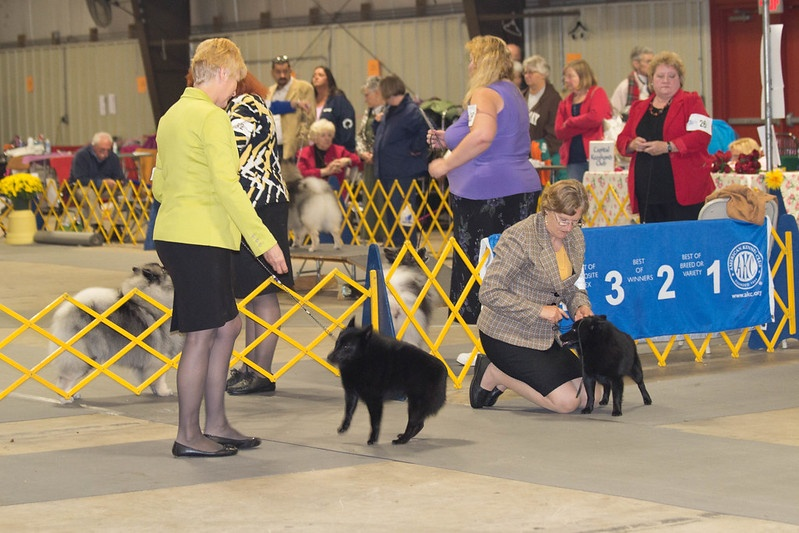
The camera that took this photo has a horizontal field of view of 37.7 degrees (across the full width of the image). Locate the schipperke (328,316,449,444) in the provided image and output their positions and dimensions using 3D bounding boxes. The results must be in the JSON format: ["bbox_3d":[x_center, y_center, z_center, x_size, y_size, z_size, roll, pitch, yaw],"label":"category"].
[{"bbox_3d":[-0.106,0.775,7.668,0.868,0.779,0.321,6,5,-18],"label":"schipperke"}]

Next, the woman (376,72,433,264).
[{"bbox_3d":[0.060,-1.173,13.256,0.792,2.031,0.667,19,33,36],"label":"woman"}]

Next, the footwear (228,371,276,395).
[{"bbox_3d":[-1.103,0.889,8.859,0.381,0.184,0.140,2,-3,-14],"label":"footwear"}]

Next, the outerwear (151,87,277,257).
[{"bbox_3d":[-1.223,-0.583,7.530,0.690,1.085,0.859,0,-1,-44],"label":"outerwear"}]

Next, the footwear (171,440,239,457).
[{"bbox_3d":[-1.257,1.181,7.535,0.418,0.128,0.143,-2,-2,-12],"label":"footwear"}]

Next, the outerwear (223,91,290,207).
[{"bbox_3d":[-0.918,-0.875,8.500,0.639,0.777,0.406,-7,16,-30],"label":"outerwear"}]

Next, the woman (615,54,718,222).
[{"bbox_3d":[2.251,-0.860,9.927,0.759,1.781,0.760,5,14,40],"label":"woman"}]

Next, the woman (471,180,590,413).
[{"bbox_3d":[0.898,0.216,8.185,0.821,1.608,0.286,0,11,6],"label":"woman"}]

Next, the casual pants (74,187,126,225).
[{"bbox_3d":[-4.457,-0.924,17.455,0.534,0.487,0.029,8,29,29],"label":"casual pants"}]

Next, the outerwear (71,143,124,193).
[{"bbox_3d":[-4.572,-1.503,17.696,0.793,0.630,0.447,-1,19,-29],"label":"outerwear"}]

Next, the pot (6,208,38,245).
[{"bbox_3d":[-5.639,-0.596,17.508,0.479,0.475,0.492,2,5,0],"label":"pot"}]

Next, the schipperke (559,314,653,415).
[{"bbox_3d":[1.495,0.691,8.276,0.375,0.713,0.910,0,1,33],"label":"schipperke"}]
